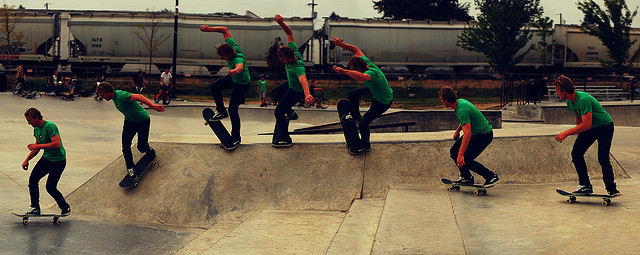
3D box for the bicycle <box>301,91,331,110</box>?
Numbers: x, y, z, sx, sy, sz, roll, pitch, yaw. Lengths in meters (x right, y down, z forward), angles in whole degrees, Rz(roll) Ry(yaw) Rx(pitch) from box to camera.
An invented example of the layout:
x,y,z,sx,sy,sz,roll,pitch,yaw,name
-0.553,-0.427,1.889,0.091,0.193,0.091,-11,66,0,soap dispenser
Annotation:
x,y,z,sx,sy,sz,roll,pitch,yaw,name
-0.528,-2.428,72.581,3.000,1.297,1.572,-2,7,-6,bicycle
